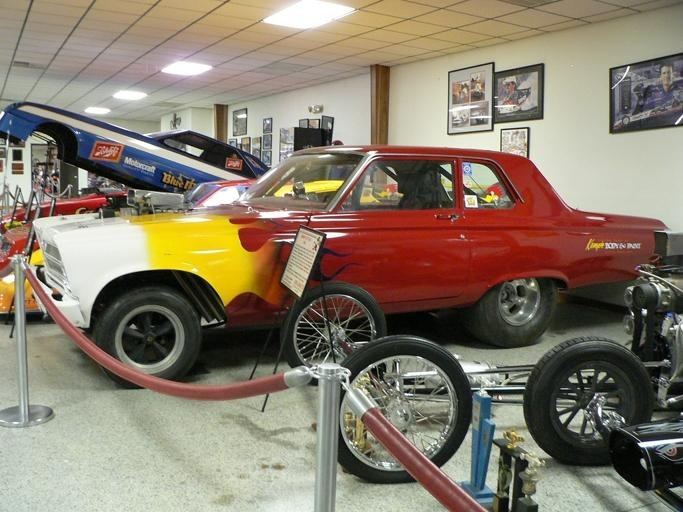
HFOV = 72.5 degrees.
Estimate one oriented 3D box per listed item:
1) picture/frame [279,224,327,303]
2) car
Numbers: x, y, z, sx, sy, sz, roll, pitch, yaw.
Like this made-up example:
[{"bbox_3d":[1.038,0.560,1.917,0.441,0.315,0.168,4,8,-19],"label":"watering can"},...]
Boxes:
[{"bbox_3d":[-0.299,0.067,3.487,0.050,0.568,0.621,20,9,-29],"label":"picture/frame"},{"bbox_3d":[0.444,-0.048,4.536,6.333,1.992,1.880,-1,9,-12],"label":"car"}]
